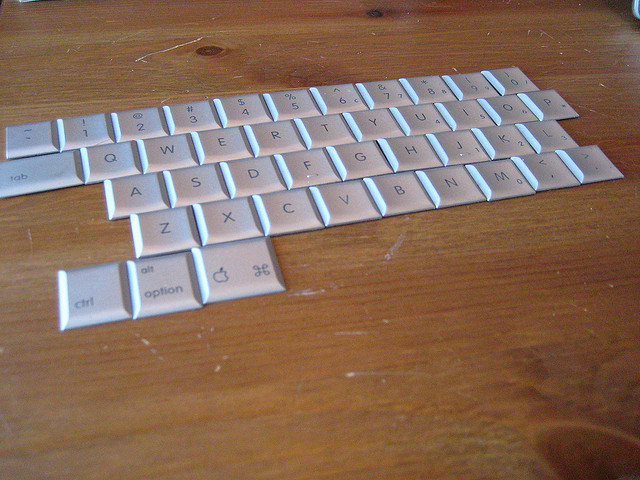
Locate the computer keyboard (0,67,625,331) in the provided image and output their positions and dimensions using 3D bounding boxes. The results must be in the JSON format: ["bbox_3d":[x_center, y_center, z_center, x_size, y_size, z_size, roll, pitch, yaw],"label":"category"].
[{"bbox_3d":[-0.005,-0.077,0.605,0.597,0.101,0.270,-16,47,-21],"label":"computer keyboard"}]
